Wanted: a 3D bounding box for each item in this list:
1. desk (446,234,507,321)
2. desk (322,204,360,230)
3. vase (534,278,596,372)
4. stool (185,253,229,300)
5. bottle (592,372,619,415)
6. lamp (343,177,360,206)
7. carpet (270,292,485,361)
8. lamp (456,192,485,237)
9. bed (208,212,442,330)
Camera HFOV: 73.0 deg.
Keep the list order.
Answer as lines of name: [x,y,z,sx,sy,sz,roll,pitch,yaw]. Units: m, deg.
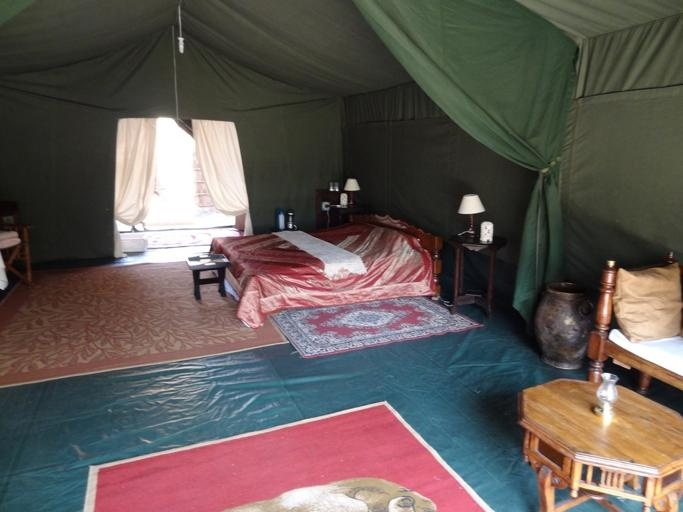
desk: [1.407,0.217,5.293,0.716,0.782,0.695,2,5,15]
desk: [-0.004,-0.688,7.970,0.468,0.489,0.560,-6,20,-20]
vase: [2.088,0.635,4.267,0.620,0.665,0.648,-11,14,-41]
stool: [-1.654,0.292,5.764,0.539,0.438,0.499,-5,5,-32]
bottle: [1.547,0.817,2.688,0.133,0.222,0.128,10,-4,1]
lamp: [0.209,-1.111,7.933,0.270,0.454,0.582,-2,16,1]
carpet: [0.298,0.703,5.003,1.921,0.068,1.164,-7,16,-18]
lamp: [1.433,-0.424,5.056,0.296,0.429,0.280,-3,3,-37]
bed: [-0.156,0.183,5.461,1.805,0.515,1.633,-4,19,-19]
